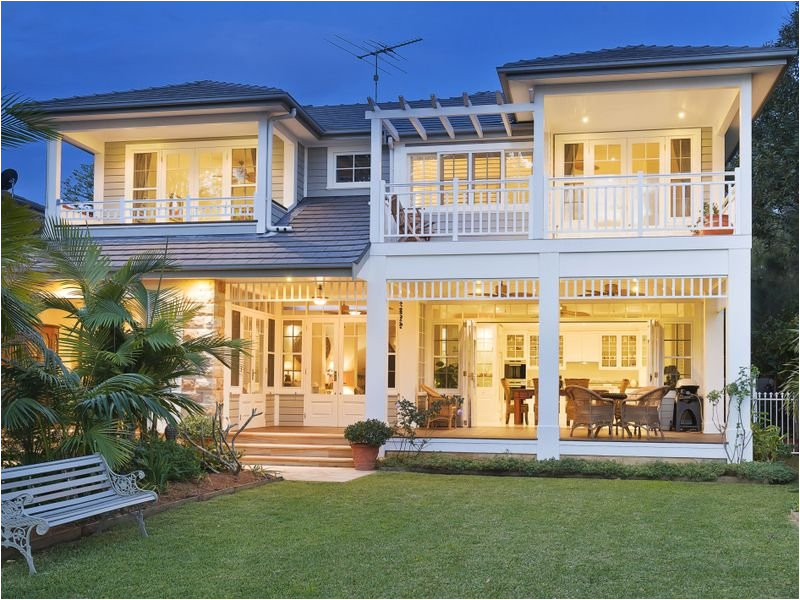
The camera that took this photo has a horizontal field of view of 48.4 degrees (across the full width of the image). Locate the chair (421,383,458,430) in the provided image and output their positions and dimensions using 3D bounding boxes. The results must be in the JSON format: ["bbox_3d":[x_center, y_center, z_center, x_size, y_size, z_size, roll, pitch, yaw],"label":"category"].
[{"bbox_3d":[0.718,2.197,18.374,0.872,0.995,0.883,-1,-5,7],"label":"chair"}]

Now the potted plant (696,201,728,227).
[{"bbox_3d":[6.040,-1.651,16.994,0.689,0.419,0.688,-2,-1,15],"label":"potted plant"}]

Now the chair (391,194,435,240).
[{"bbox_3d":[0.237,-1.647,18.085,0.993,0.993,0.765,0,0,6],"label":"chair"}]

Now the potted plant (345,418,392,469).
[{"bbox_3d":[-0.625,2.621,16.429,0.998,0.983,0.818,1,-10,-6],"label":"potted plant"}]
